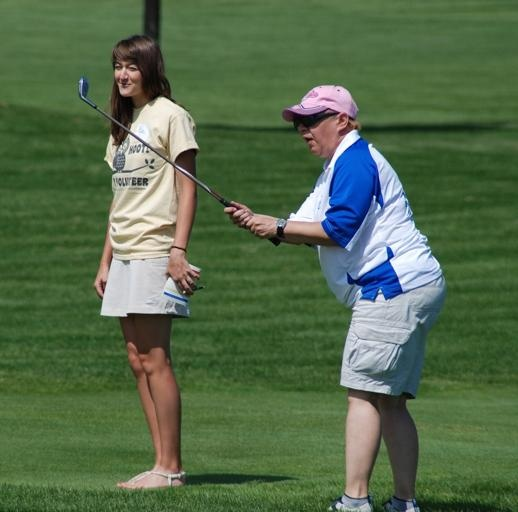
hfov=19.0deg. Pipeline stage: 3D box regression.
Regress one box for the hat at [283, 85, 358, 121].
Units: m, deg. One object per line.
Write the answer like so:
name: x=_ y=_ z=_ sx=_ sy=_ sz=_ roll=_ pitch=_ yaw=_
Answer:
hat: x=0.459 y=-1.184 z=11.912 sx=0.445 sy=0.228 sz=0.291 roll=4 pitch=-2 yaw=-2

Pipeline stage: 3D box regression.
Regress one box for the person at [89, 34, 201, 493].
person: x=-0.863 y=0.042 z=12.129 sx=0.800 sy=3.454 sz=1.115 roll=-3 pitch=13 yaw=-11
